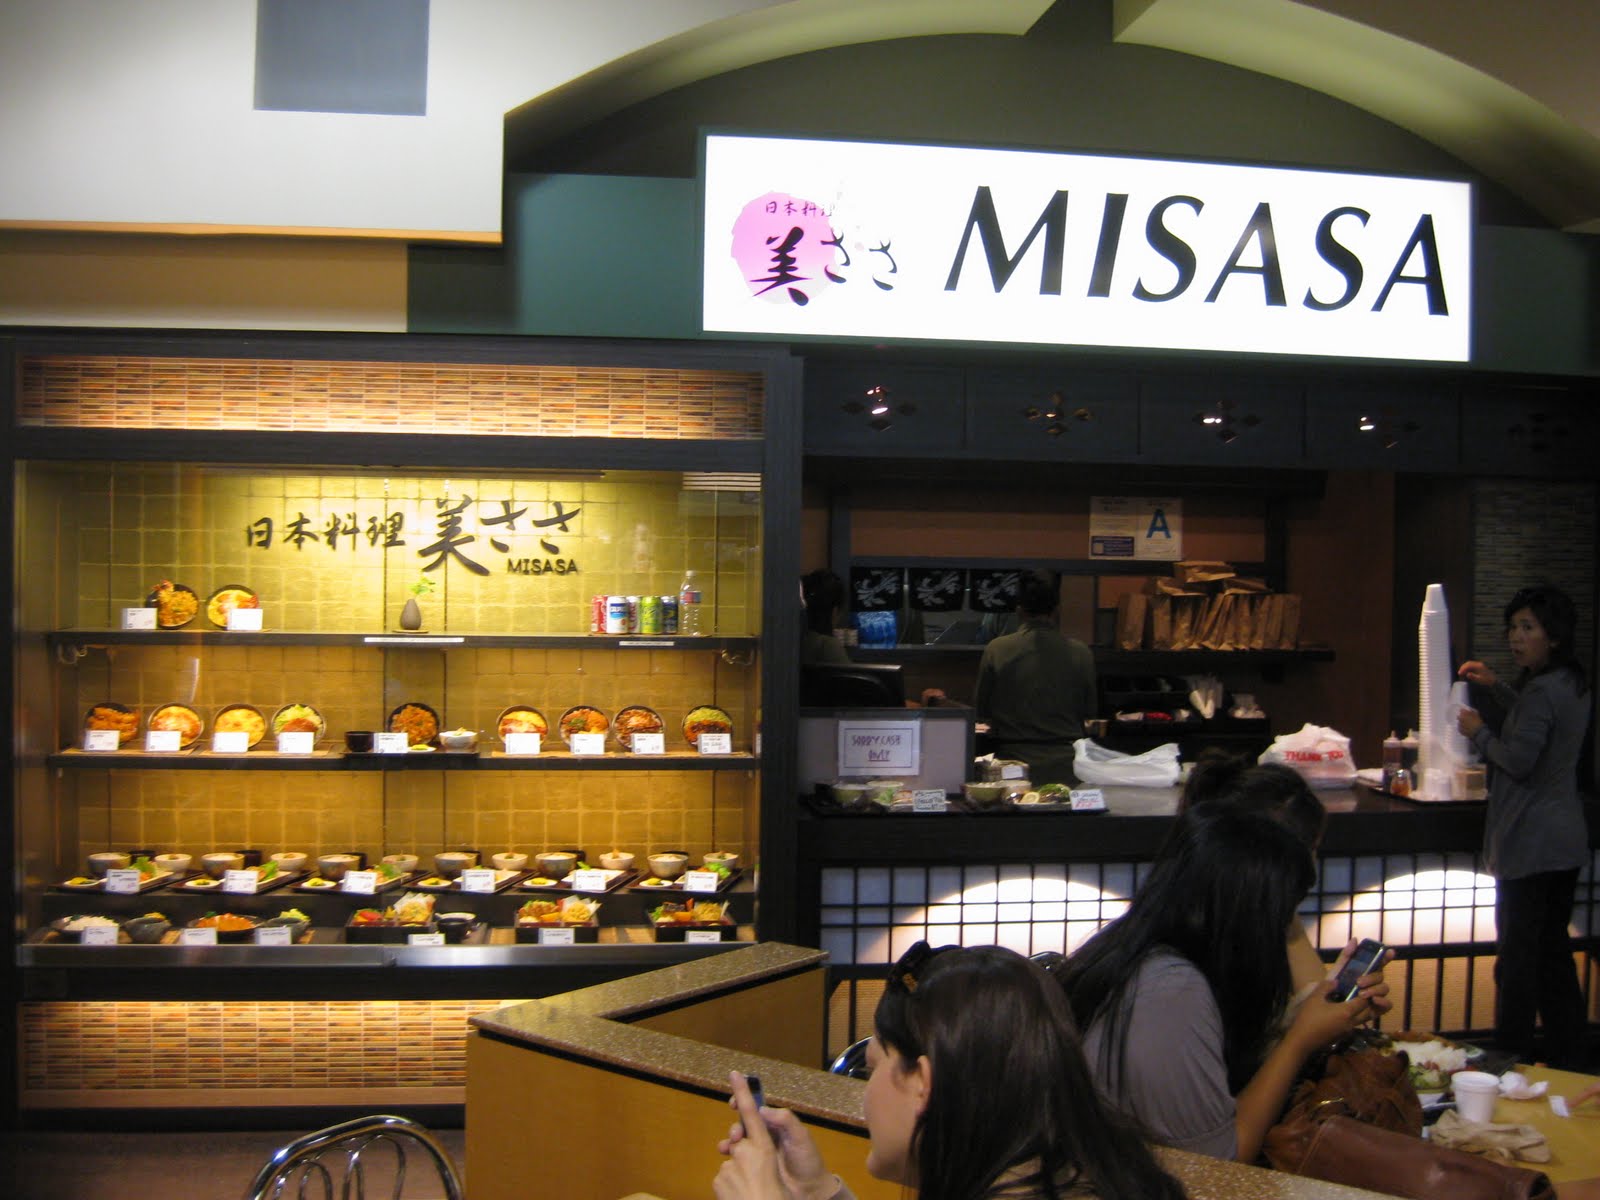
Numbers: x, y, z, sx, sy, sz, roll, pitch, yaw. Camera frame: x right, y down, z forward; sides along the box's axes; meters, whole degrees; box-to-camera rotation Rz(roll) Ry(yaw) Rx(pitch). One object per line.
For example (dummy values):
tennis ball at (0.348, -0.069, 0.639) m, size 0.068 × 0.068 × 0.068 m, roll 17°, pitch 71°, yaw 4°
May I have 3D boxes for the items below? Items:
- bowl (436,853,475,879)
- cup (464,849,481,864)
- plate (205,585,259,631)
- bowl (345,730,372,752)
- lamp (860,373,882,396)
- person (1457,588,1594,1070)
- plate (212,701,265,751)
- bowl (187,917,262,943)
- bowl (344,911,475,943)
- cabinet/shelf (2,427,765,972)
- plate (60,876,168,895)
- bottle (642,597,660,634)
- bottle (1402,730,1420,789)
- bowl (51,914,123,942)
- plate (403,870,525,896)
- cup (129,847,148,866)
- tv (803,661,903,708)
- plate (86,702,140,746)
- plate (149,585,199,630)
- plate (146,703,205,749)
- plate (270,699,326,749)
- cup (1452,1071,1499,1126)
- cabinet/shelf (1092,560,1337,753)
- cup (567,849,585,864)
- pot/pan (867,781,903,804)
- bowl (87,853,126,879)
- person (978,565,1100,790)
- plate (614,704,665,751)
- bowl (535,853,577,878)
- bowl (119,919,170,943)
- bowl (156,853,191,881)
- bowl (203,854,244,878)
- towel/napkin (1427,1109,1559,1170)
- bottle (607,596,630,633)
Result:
bowl at (-1.390, 1.059, 6.109) m, size 0.104 × 0.054 × 0.104 m, roll 0°, pitch -4°, yaw 0°
cup at (-1.316, 1.033, 6.147) m, size 0.053 × 0.048 × 0.048 m, roll 1°, pitch -2°, yaw -7°
plate at (-2.258, 0.026, 6.074) m, size 0.205 × 0.178 × 0.154 m, roll 1°, pitch -3°, yaw -18°
bowl at (-1.708, 0.549, 5.909) m, size 0.078 × 0.055 × 0.076 m, roll 2°, pitch -2°, yaw 0°
lamp at (0.310, -0.906, 6.489) m, size 0.080 × 0.077 × 0.141 m, roll 1°, pitch 5°, yaw 7°
person at (2.943, 0.901, 6.117) m, size 0.420 × 1.896 × 0.341 m, roll 0°, pitch -3°, yaw 3°
plate at (-2.224, 0.509, 6.028) m, size 0.178 × 0.167 × 0.051 m, roll -2°, pitch -9°, yaw -6°
bowl at (-2.203, 1.251, 5.804) m, size 0.246 × 0.084 × 0.123 m, roll 1°, pitch -2°, yaw -19°
bowl at (-1.487, 1.246, 5.833) m, size 0.473 × 0.110 × 0.139 m, roll 0°, pitch -2°, yaw -8°
cabinet/shelf at (-1.754, 0.405, 6.013) m, size 2.192 × 1.705 × 0.696 m, roll 0°, pitch 3°, yaw -2°
plate at (-2.667, 1.109, 5.915) m, size 0.371 × 0.054 × 0.101 m, roll 0°, pitch -2°, yaw -2°
bottle at (-0.612, 0.064, 6.105) m, size 0.096 × 0.138 × 0.058 m, roll -1°, pitch -3°, yaw 11°
bottle at (2.635, 0.696, 6.579) m, size 0.068 × 0.236 × 0.223 m, roll -1°, pitch -3°, yaw 20°
bowl at (-2.702, 1.247, 5.795) m, size 0.247 × 0.084 × 0.172 m, roll 0°, pitch -2°, yaw -10°
plate at (-1.317, 1.107, 6.033) m, size 0.430 × 0.092 × 0.178 m, roll 0°, pitch -2°, yaw -10°
cup at (-2.616, 1.015, 6.039) m, size 0.066 × 0.058 × 0.064 m, roll 1°, pitch -2°, yaw 0°
tv at (0.219, 0.358, 6.327) m, size 0.427 × 0.168 × 0.149 m, roll 0°, pitch -2°, yaw -4°
plate at (-2.730, 0.494, 6.049) m, size 0.205 × 0.165 × 0.073 m, roll 1°, pitch -3°, yaw -17°
plate at (-2.499, 0.014, 6.088) m, size 0.198 × 0.176 × 0.048 m, roll 0°, pitch -3°, yaw -6°
plate at (-2.470, 0.500, 6.019) m, size 0.213 × 0.177 × 0.209 m, roll 1°, pitch -2°, yaw -15°
plate at (-1.999, 0.507, 6.045) m, size 0.208 × 0.187 × 0.231 m, roll 0°, pitch -2°, yaw -11°
cup at (1.913, 1.406, 4.321) m, size 0.138 × 0.131 × 0.130 m, roll 2°, pitch -5°, yaw 0°
cabinet/shelf at (2.181, 0.350, 8.876) m, size 1.681 × 1.413 × 1.044 m, roll 0°, pitch -2°, yaw -9°
cup at (-0.903, 1.035, 6.180) m, size 0.089 × 0.081 × 0.045 m, roll 0°, pitch 1°, yaw -14°
pot/pan at (0.360, 0.772, 6.125) m, size 0.093 × 0.057 × 0.091 m, roll 4°, pitch -6°, yaw -41°
bowl at (-2.746, 1.048, 6.027) m, size 0.115 × 0.049 × 0.090 m, roll 2°, pitch -3°, yaw -22°
person at (1.105, 0.435, 7.131) m, size 0.534 × 0.763 × 0.391 m, roll 0°, pitch -3°, yaw 5°
plate at (-0.642, 0.512, 6.147) m, size 0.174 × 0.162 × 0.070 m, roll 0°, pitch 2°, yaw -14°
bowl at (-0.981, 1.062, 6.129) m, size 0.113 × 0.048 × 0.099 m, roll 0°, pitch 0°, yaw -2°
bowl at (-2.486, 1.248, 5.805) m, size 0.170 × 0.091 × 0.133 m, roll 1°, pitch -2°, yaw -24°
bowl at (-2.488, 1.055, 6.055) m, size 0.103 × 0.044 × 0.101 m, roll 3°, pitch 2°, yaw 0°
bowl at (-2.287, 1.050, 6.037) m, size 0.168 × 0.088 × 0.142 m, roll 0°, pitch -2°, yaw -11°
towel/napkin at (1.925, 1.496, 4.227) m, size 0.207 × 0.063 × 0.161 m, roll 4°, pitch -3°, yaw -23°
bottle at (-0.725, 0.058, 6.140) m, size 0.094 × 0.140 × 0.049 m, roll 0°, pitch -3°, yaw -8°
